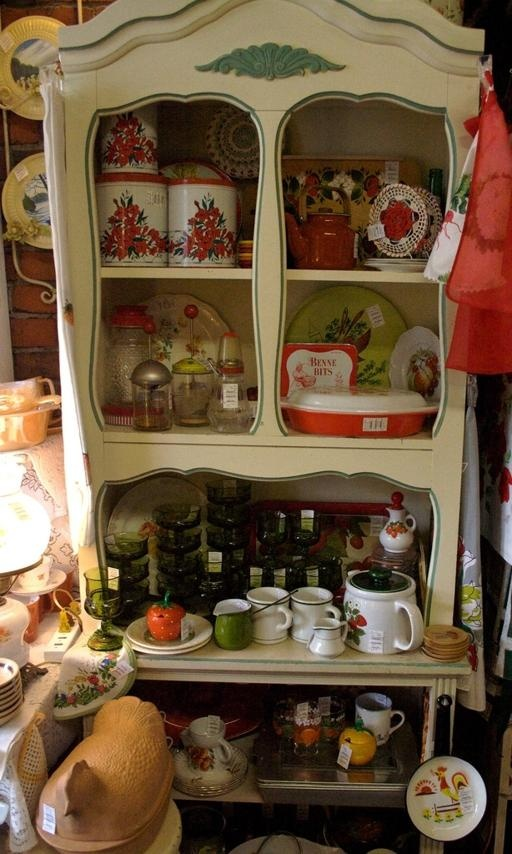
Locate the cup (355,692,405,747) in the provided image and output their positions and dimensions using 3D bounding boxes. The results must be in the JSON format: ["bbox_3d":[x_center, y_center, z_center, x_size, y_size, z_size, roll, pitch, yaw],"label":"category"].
[{"bbox_3d":[0.267,0.652,1.452,0.115,0.107,0.077,0,-2,-2],"label":"cup"}]

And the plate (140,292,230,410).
[{"bbox_3d":[-0.160,-0.164,1.418,0.251,0.345,0.131,-1,-2,-5],"label":"plate"}]

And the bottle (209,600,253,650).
[{"bbox_3d":[-0.045,0.388,1.285,0.085,0.087,0.065,-1,0,-21],"label":"bottle"}]

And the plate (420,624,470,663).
[{"bbox_3d":[0.368,0.416,1.251,0.061,0.027,0.064,0,6,2],"label":"plate"}]

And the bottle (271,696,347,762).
[{"bbox_3d":[0.120,0.658,1.469,0.110,0.105,0.137,2,3,2],"label":"bottle"}]

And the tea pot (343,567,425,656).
[{"bbox_3d":[0.241,0.357,1.319,0.125,0.138,0.170,-3,8,-19],"label":"tea pot"}]

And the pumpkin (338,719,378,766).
[{"bbox_3d":[0.207,0.664,1.339,0.072,0.077,0.074,1,4,-18],"label":"pumpkin"}]
